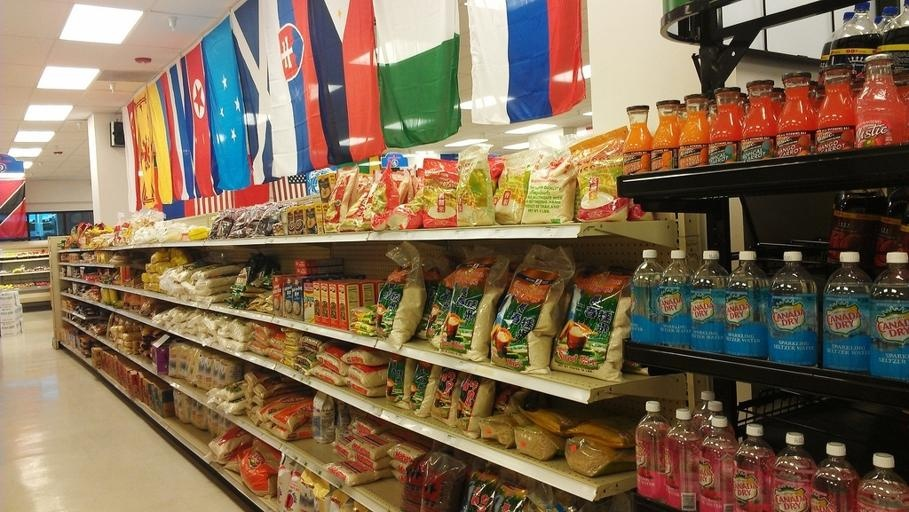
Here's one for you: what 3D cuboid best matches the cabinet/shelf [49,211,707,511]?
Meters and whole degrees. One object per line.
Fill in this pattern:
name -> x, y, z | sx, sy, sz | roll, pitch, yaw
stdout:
cabinet/shelf -> -1.347, 0.663, 4.712 | 6.167, 1.861, 0.826 | 3, 8, 43
